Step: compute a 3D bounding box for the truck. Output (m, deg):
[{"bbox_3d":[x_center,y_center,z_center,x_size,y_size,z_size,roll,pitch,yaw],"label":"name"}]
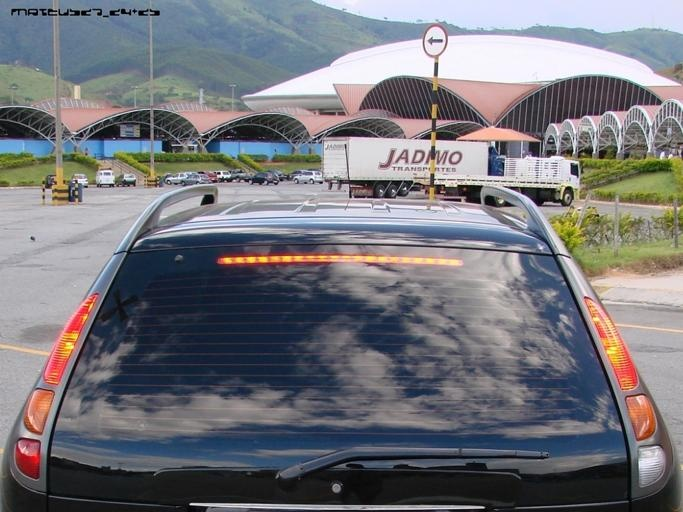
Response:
[{"bbox_3d":[7.358,-4.823,47.058,13.743,1.960,2.234,4,6,12],"label":"truck"}]
